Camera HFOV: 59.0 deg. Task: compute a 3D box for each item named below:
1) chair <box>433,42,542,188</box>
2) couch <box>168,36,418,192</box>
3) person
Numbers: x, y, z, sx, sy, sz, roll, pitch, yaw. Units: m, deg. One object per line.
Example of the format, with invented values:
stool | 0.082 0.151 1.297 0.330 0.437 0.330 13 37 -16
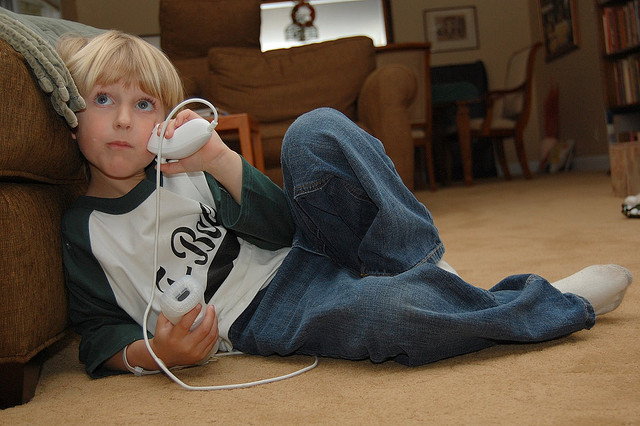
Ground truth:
chair | 1.378 -0.797 4.534 0.755 1.013 0.716 -4 7 -14
couch | -0.172 -0.428 2.888 1.256 0.920 0.731 -2 4 7
person | 0.071 -0.053 1.518 1.233 0.797 0.765 -4 14 15
